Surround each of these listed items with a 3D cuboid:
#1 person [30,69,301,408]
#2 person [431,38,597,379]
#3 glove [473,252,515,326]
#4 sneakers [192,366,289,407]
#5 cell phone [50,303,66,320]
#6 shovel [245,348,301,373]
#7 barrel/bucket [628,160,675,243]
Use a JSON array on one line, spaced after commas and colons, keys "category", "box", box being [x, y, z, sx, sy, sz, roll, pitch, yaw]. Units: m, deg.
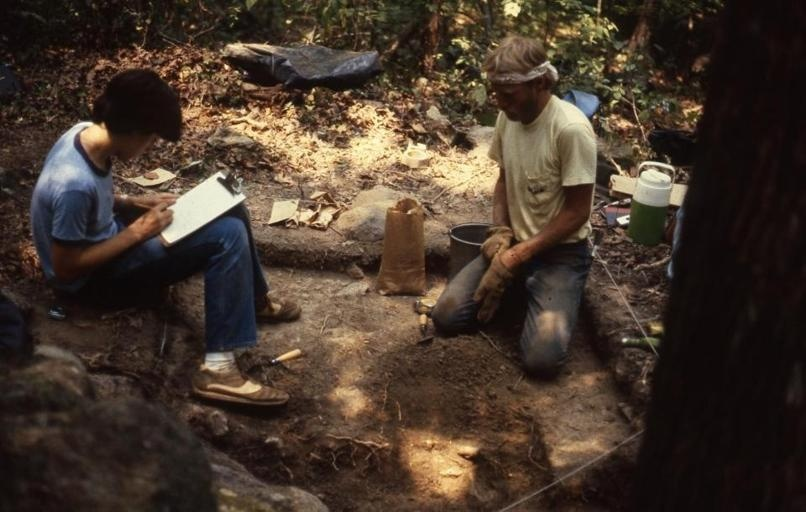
[{"category": "person", "box": [-1.387, -0.119, 3.833, 1.375, 1.844, 0.651, 5, 15, -11]}, {"category": "person", "box": [0.824, -0.352, 4.369, 0.949, 2.061, 0.709, 13, 15, 17]}, {"category": "glove", "box": [0.579, 0.225, 4.350, 0.271, 0.448, 0.128, 35, 27, 34]}, {"category": "sneakers", "box": [-0.960, 0.784, 3.955, 0.591, 0.213, 0.214, 10, 6, -15]}, {"category": "cell phone", "box": [-2.012, 0.322, 3.817, 0.074, 0.077, 0.078, 17, 3, -12]}, {"category": "shovel", "box": [-0.833, 0.663, 4.182, 0.315, 0.059, 0.132, -17, 38, -18]}, {"category": "barrel/bucket", "box": [1.891, -0.409, 4.995, 0.278, 0.640, 0.273, 0, 32, 0]}]
